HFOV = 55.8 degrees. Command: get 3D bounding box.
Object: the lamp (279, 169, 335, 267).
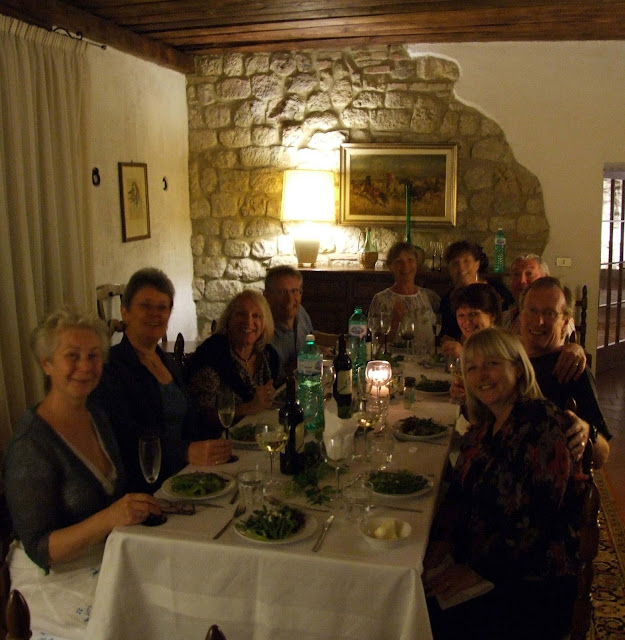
[{"bbox_3d":[-0.047,-0.986,5.698,0.556,0.934,0.392,-2,7,5],"label":"lamp"}]
